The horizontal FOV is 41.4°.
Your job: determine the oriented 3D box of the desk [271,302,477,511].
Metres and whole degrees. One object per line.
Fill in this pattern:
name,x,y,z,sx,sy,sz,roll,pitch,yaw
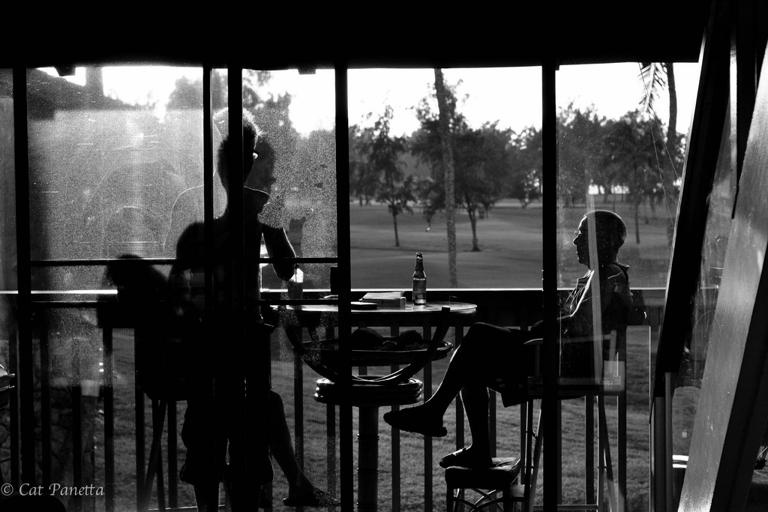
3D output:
desk,-0.081,0.817,5.410,0.861,1.022,0.889,-4,-8,31

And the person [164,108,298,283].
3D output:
person,-0.793,-0.316,5.168,0.733,1.031,0.378,0,7,-9

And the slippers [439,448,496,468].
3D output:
slippers,0.419,1.089,5.412,0.243,0.116,0.123,3,-12,11

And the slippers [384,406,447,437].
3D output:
slippers,0.175,0.900,5.581,0.378,0.179,0.149,12,-6,6
